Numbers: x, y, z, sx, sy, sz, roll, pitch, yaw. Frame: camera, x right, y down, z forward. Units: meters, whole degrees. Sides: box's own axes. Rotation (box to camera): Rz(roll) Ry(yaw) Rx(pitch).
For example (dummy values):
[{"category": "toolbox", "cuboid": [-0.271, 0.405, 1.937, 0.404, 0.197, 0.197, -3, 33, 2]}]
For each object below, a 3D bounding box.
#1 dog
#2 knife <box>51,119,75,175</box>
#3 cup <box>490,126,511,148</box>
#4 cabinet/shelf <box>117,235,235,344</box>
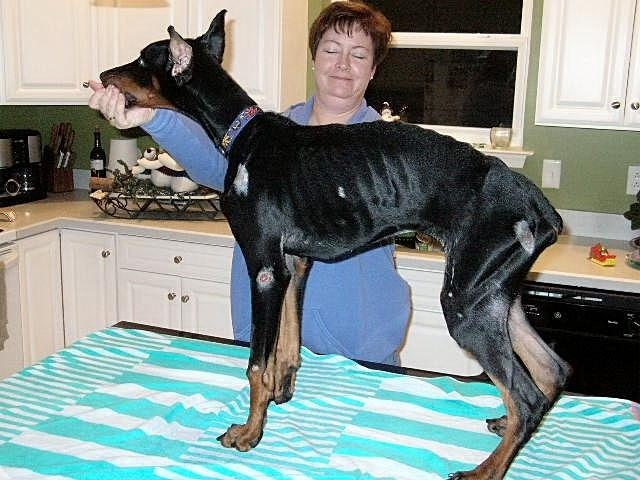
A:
[{"category": "dog", "cuboid": [0.029, -0.016, 1.166, 0.998, 0.986, 0.440, 10, 17, 31]}, {"category": "knife", "cuboid": [-1.864, -0.675, 3.663, 0.148, 0.320, 0.139, -10, 18, -38]}, {"category": "cup", "cuboid": [1.064, -0.611, 3.026, 0.136, 0.117, 0.125, 0, 5, 0]}, {"category": "cabinet/shelf", "cuboid": [-0.727, 0.234, 2.653, 0.616, 0.519, 0.338, 3, 7, 11]}]
